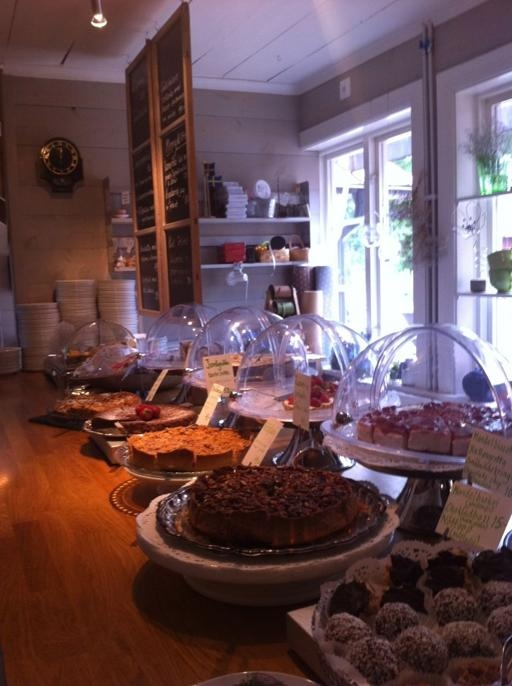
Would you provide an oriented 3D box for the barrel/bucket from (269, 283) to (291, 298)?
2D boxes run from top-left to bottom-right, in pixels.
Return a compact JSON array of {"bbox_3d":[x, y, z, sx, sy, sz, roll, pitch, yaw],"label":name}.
[{"bbox_3d":[0.242,-0.452,4.544,0.186,0.126,0.144,-2,7,-25],"label":"barrel/bucket"}]

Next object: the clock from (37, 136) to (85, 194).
[{"bbox_3d":[-1.934,-1.881,5.126,0.187,0.726,0.514,33,27,29],"label":"clock"}]

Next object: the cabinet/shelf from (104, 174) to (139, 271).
[{"bbox_3d":[-1.337,-1.236,4.989,0.348,0.986,1.067,-3,7,-13],"label":"cabinet/shelf"}]

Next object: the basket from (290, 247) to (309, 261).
[{"bbox_3d":[0.443,-0.908,5.078,0.148,0.110,0.149,2,9,29],"label":"basket"}]
